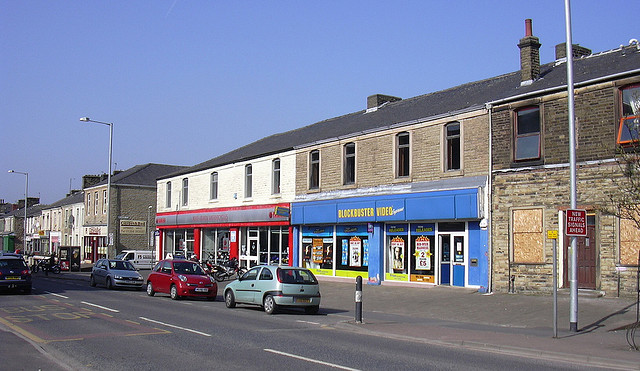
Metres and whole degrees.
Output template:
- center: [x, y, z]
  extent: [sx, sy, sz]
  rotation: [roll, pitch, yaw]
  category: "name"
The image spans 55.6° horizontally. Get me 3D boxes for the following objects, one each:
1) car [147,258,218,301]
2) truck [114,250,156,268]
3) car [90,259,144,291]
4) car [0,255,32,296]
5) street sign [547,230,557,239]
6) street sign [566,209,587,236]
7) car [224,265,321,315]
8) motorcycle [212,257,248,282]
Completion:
- center: [-7.803, 5.284, 34.312]
  extent: [4.040, 2.372, 1.677]
  rotation: [-8, -12, 38]
  category: "car"
- center: [-15.618, 6.243, 51.683]
  extent: [3.034, 1.463, 1.899]
  rotation: [9, -13, -34]
  category: "truck"
- center: [-13.273, 5.764, 39.578]
  extent: [2.225, 2.126, 3.614]
  rotation: [5, -11, -32]
  category: "car"
- center: [-17.353, 5.084, 34.729]
  extent: [1.572, 2.230, 1.577]
  rotation: [4, -10, -24]
  category: "car"
- center: [9.414, 1.958, 24.583]
  extent: [0.078, 0.401, 0.518]
  rotation: [14, -10, -1]
  category: "street sign"
- center: [10.158, 1.441, 24.242]
  extent: [1.048, 1.031, 0.474]
  rotation: [6, -11, -35]
  category: "street sign"
- center: [-2.292, 4.988, 29.187]
  extent: [4.333, 2.348, 1.372]
  rotation: [-5, -10, 29]
  category: "car"
- center: [-6.606, 5.865, 43.371]
  extent: [2.895, 1.660, 1.365]
  rotation: [-6, -11, -45]
  category: "motorcycle"
